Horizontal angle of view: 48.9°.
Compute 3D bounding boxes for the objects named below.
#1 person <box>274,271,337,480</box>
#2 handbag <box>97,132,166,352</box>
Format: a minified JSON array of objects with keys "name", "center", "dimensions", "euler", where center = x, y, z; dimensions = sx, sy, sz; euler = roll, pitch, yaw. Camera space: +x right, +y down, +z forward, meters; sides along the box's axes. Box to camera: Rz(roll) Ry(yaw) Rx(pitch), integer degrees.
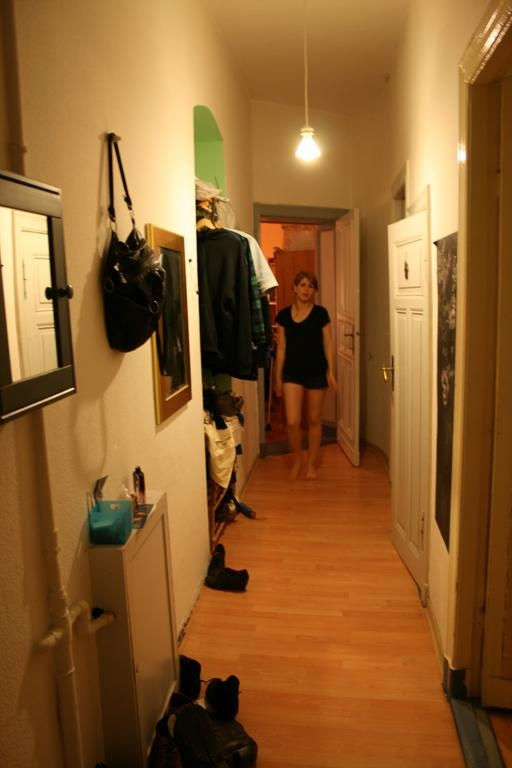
[{"name":"person","center":[0.415,-0.110,4.848],"dimensions":[0.493,1.676,0.766],"euler":[-1,5,7]},{"name":"handbag","center":[-0.349,-0.399,1.600],"dimensions":[0.158,0.624,0.243],"euler":[-2,5,-6]}]
